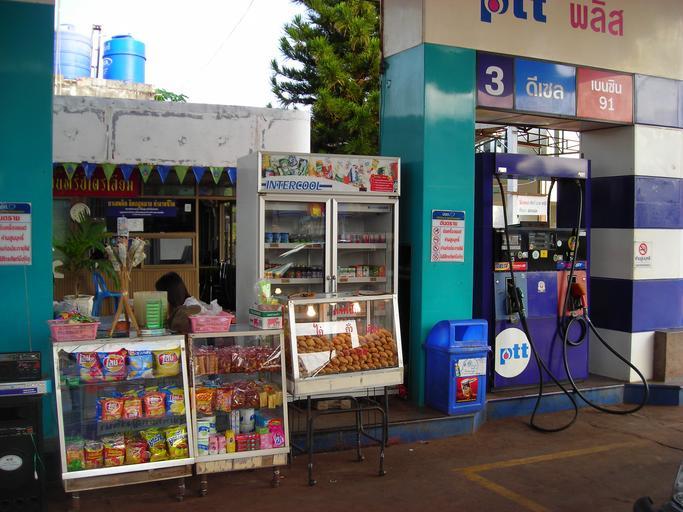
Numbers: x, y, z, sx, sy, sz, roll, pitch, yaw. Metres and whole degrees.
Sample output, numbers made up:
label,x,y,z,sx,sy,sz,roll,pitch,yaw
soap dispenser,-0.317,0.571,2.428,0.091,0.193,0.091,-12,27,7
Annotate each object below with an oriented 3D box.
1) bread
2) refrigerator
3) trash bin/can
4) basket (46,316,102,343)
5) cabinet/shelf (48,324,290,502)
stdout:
label,x,y,z,sx,sy,sz,roll,pitch,yaw
bread,0.059,0.981,6.491,1.254,0.402,0.447,-2,-5,-25
refrigerator,-0.200,0.088,7.298,1.934,2.985,1.350,1,3,-24
trash bin/can,1.377,1.254,7.591,0.656,1.105,0.595,-2,5,-20
basket,-2.452,0.645,5.781,0.320,0.133,0.229,-1,2,-42
cabinet/shelf,-1.542,1.489,5.980,2.091,1.495,0.888,-6,15,-26
